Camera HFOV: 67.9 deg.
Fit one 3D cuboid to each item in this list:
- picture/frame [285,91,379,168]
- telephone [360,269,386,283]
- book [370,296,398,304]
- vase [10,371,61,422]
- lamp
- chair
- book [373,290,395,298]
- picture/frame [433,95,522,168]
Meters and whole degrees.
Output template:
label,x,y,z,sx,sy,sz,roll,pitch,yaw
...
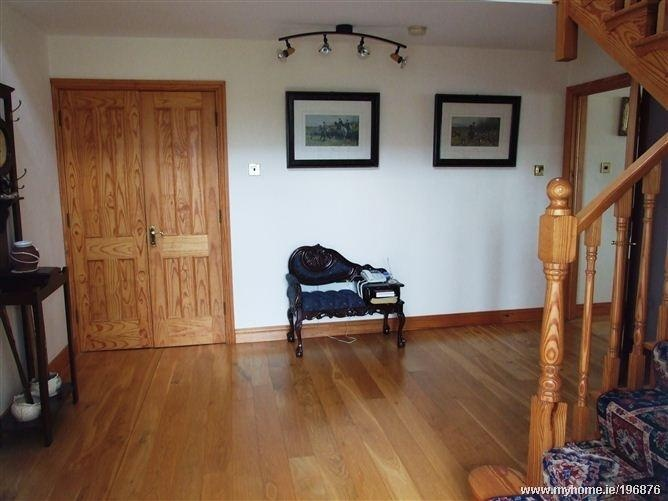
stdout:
label,x,y,z,sx,sy,sz,roll,pitch,yaw
picture/frame,-0.059,-1.204,4.795,0.682,0.569,0.032,-1,6,-11
telephone,0.390,0.247,4.841,0.120,0.064,0.170,0,21,-7
book,0.472,0.479,4.708,0.259,0.086,0.017,-3,14,-12
vase,-2.113,1.034,3.548,0.187,0.162,0.438,5,21,-7
lamp,0.079,-1.792,4.432,1.180,0.327,0.219,3,16,0
chair,0.097,0.476,4.826,1.094,1.017,0.528,-3,9,-15
book,0.480,0.408,4.708,0.127,0.076,0.049,1,-8,-4
picture/frame,1.412,-1.235,5.035,0.678,0.617,0.056,0,7,-6
